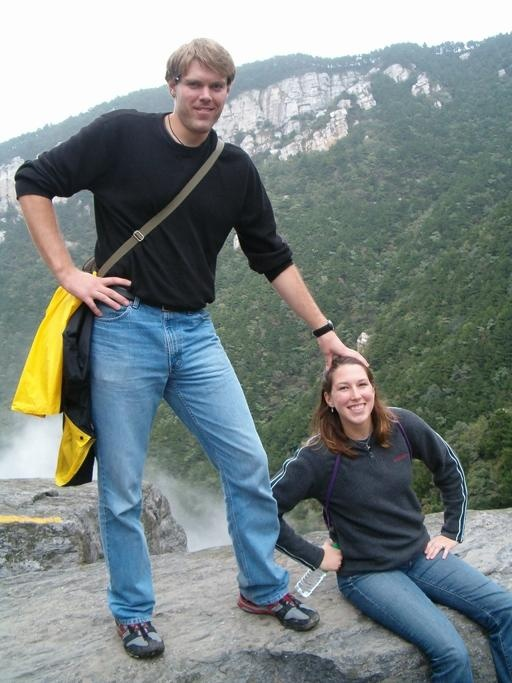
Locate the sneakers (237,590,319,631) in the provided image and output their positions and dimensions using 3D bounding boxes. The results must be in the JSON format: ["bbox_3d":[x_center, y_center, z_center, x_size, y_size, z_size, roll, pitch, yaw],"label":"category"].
[{"bbox_3d":[0.066,0.897,2.105,0.281,0.096,0.104,1,2,26],"label":"sneakers"}]

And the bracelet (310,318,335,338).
[{"bbox_3d":[0.260,-0.047,2.278,0.085,0.052,0.087,-13,5,24],"label":"bracelet"}]

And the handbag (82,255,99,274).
[{"bbox_3d":[-0.533,-0.246,1.970,0.053,0.061,0.023,-7,-17,29],"label":"handbag"}]

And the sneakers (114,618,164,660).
[{"bbox_3d":[-0.358,0.908,1.865,0.081,0.063,0.161,0,-5,-40],"label":"sneakers"}]

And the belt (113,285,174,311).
[{"bbox_3d":[-0.340,-0.130,1.834,0.126,0.028,0.084,18,10,-4],"label":"belt"}]

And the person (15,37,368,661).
[{"bbox_3d":[-0.215,0.033,1.920,0.956,1.858,0.414,1,-4,-37],"label":"person"}]
